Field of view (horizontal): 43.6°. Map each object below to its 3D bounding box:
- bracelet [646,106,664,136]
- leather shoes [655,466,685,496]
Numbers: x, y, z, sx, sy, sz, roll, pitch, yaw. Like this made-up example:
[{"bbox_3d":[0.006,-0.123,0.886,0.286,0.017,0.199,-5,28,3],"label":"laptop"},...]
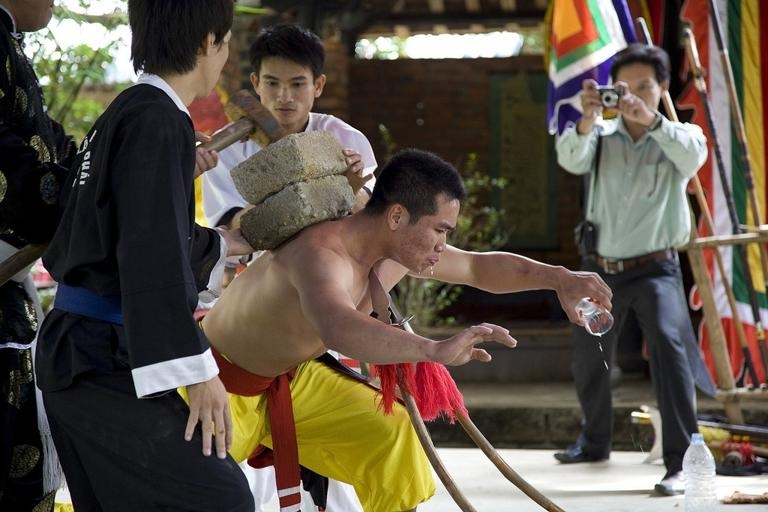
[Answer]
[{"bbox_3d":[1.348,-0.683,4.809,0.060,0.089,0.068,7,-2,-13],"label":"bracelet"},{"bbox_3d":[1.395,1.118,4.700,0.198,0.082,0.071,9,-11,-43],"label":"leather shoes"}]
